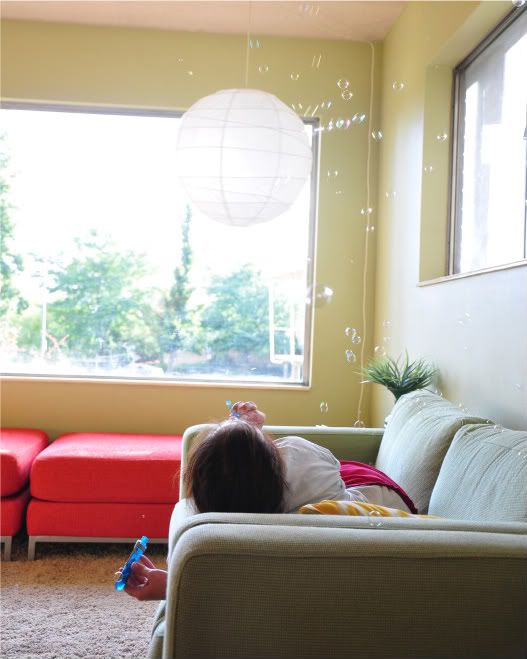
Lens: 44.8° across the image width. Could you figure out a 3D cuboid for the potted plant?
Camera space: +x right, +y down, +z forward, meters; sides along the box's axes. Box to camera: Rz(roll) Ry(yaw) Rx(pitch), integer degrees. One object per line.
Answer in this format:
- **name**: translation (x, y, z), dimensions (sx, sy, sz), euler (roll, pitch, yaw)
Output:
- **potted plant**: translation (0.614, 0.207, 2.840), dimensions (0.258, 0.173, 0.246), euler (-7, -5, 40)
